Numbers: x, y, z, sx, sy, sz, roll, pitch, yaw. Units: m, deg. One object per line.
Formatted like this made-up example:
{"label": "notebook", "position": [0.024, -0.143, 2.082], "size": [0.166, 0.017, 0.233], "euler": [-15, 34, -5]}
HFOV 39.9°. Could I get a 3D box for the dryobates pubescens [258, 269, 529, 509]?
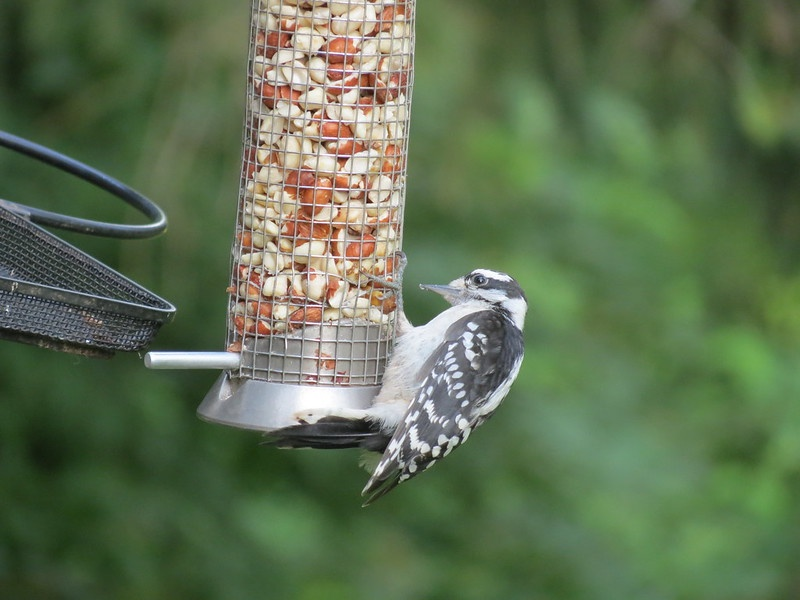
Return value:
{"label": "dryobates pubescens", "position": [0.101, 0.345, 4.006], "size": [0.977, 0.287, 0.645], "euler": [-9, 105, -12]}
